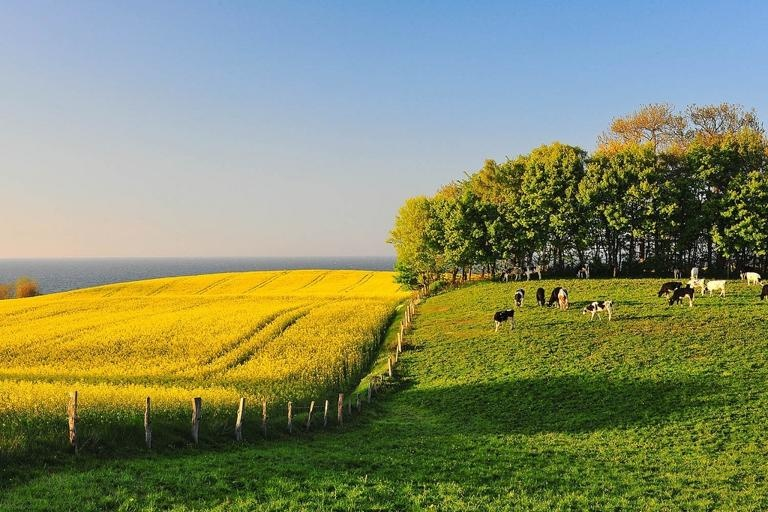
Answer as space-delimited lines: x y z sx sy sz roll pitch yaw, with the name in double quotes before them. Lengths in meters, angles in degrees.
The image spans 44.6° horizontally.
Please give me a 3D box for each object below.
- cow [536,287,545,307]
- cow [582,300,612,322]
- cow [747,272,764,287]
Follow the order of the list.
"cow" 17.694 4.653 106.816 0.866 2.022 3.055 0 -2 8
"cow" 22.377 5.678 98.749 3.017 1.983 2.482 0 -2 21
"cow" 42.934 2.579 109.457 1.578 1.442 4.366 0 -2 22
